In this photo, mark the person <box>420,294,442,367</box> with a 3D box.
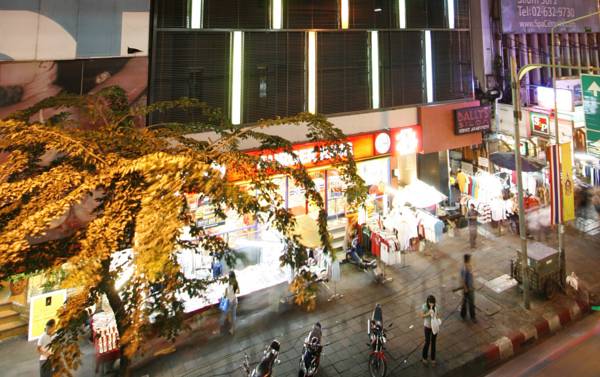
[{"bbox_3d":[4.233,4.477,11.913,0.741,2.194,0.587,-1,0,8],"label":"person"}]

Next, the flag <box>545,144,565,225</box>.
[{"bbox_3d":[9.192,-0.081,13.404,0.524,2.963,0.886,2,14,34],"label":"flag"}]

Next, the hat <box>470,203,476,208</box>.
[{"bbox_3d":[8.141,0.833,17.490,0.163,0.160,0.215,-19,-23,38],"label":"hat"}]
